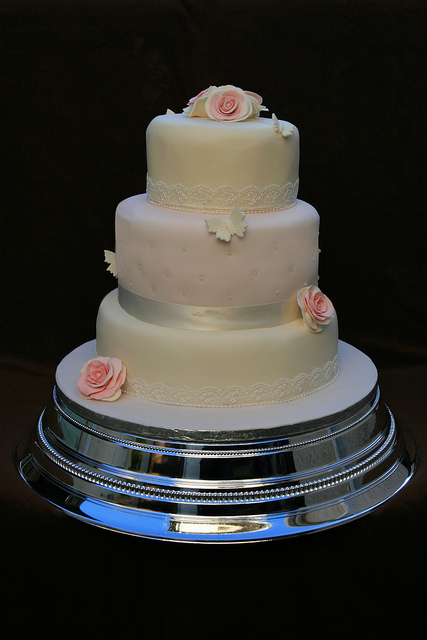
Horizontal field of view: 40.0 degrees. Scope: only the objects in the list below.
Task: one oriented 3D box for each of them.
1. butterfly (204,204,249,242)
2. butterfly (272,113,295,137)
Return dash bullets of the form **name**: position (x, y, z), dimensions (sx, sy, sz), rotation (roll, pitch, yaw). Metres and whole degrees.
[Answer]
- **butterfly**: position (0.058, -0.393, 2.416), dimensions (0.181, 0.132, 0.081), rotation (-3, 9, 0)
- **butterfly**: position (0.305, -0.841, 2.572), dimensions (0.083, 0.033, 0.124), rotation (-2, 41, -43)
